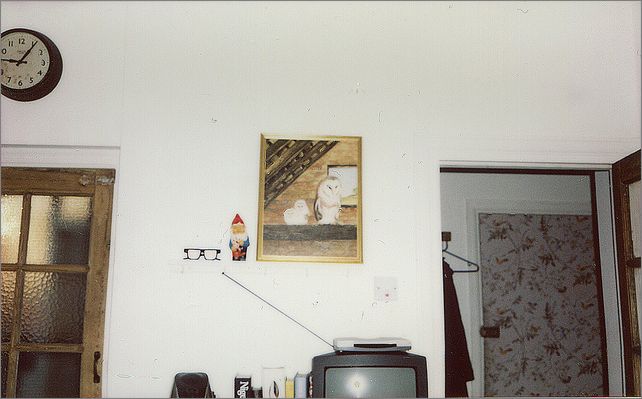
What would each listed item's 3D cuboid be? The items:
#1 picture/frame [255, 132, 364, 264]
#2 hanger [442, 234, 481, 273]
[{"bbox_3d":[-0.088,0.031,6.483,0.780,1.047,0.067,1,-10,-2],"label":"picture/frame"},{"bbox_3d":[1.008,0.394,6.687,0.246,0.196,0.027,2,-16,-2],"label":"hanger"}]
